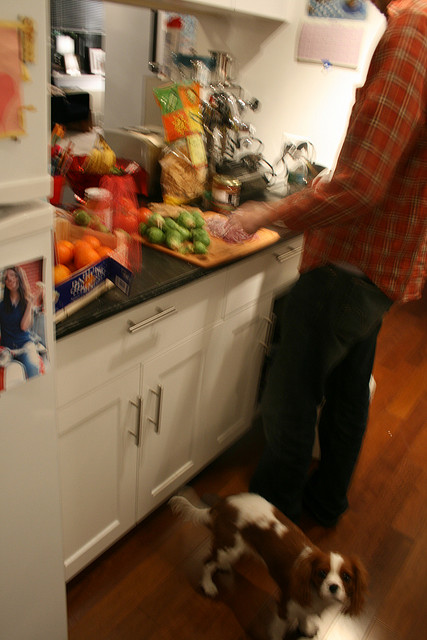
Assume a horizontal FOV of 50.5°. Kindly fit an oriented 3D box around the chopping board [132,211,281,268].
[{"bbox_3d":[0.013,-0.201,1.162,0.448,0.049,0.184,-13,34,-42],"label":"chopping board"}]
